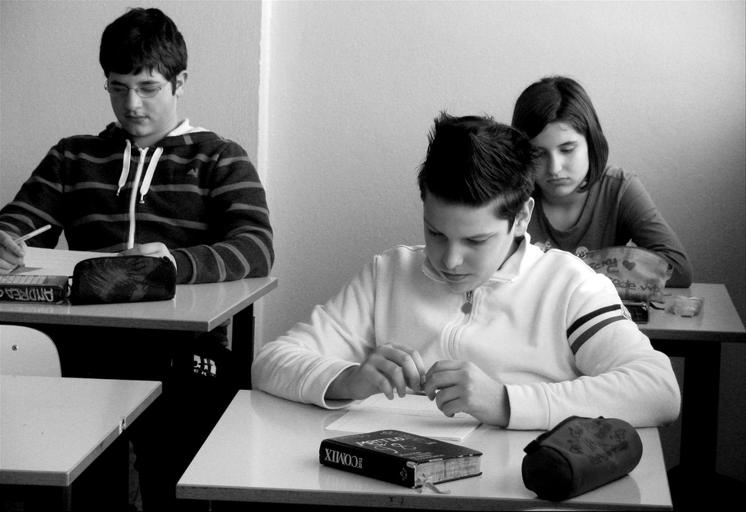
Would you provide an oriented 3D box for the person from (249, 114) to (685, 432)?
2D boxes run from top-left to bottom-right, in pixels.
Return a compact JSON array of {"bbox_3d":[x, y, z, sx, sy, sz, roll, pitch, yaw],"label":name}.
[{"bbox_3d":[0.231,0.079,1.455,0.957,0.684,0.578,4,5,35],"label":"person"}]

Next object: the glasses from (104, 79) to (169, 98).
[{"bbox_3d":[-0.896,-0.634,2.305,0.216,0.070,0.076,-7,17,-17],"label":"glasses"}]
